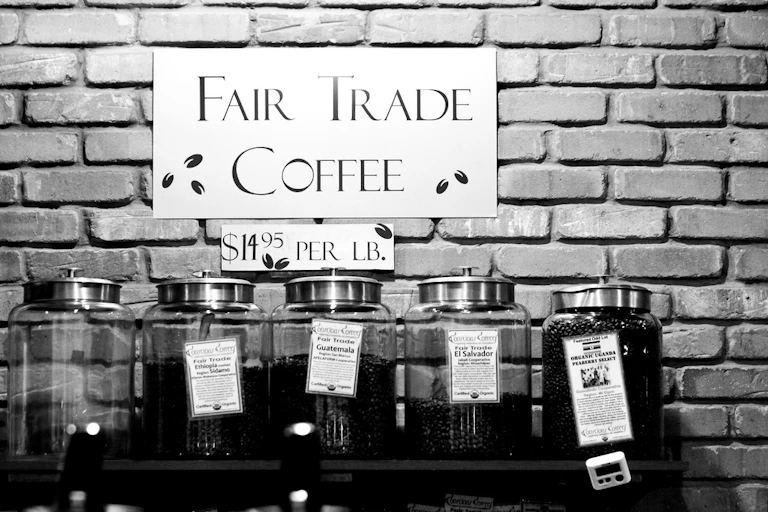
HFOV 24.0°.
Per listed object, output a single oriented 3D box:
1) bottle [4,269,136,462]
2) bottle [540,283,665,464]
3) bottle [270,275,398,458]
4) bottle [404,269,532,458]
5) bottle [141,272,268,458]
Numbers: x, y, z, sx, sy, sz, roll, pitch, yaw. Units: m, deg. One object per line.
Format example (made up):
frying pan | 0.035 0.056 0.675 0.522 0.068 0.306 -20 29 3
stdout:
bottle | -0.800 0.280 4.580 0.318 0.446 0.113 0 -6 -8
bottle | 0.548 0.288 4.554 0.302 0.437 0.111 -1 -6 4
bottle | -0.134 0.259 4.680 0.352 0.401 0.349 0 1 -43
bottle | 0.210 0.256 4.683 0.510 0.409 0.456 0 0 -14
bottle | -0.420 0.268 4.684 0.399 0.426 0.336 -3 0 1
